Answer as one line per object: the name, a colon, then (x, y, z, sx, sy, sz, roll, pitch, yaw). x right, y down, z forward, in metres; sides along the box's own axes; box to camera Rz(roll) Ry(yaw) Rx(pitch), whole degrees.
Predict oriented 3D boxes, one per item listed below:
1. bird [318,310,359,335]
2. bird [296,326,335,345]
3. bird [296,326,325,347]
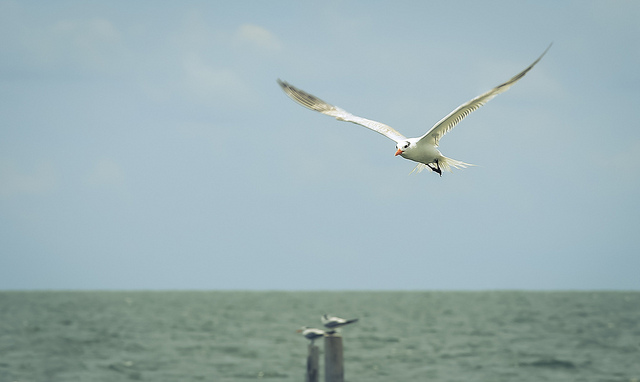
bird: (0.660, 4.733, 44.716, 1.409, 0.815, 0.505, -9, -12, 17)
bird: (-0.188, 5.018, 43.945, 1.560, 0.622, 0.486, -3, -10, 13)
bird: (-0.334, 5.009, 44.275, 1.215, 0.495, 0.397, -7, -9, 44)
